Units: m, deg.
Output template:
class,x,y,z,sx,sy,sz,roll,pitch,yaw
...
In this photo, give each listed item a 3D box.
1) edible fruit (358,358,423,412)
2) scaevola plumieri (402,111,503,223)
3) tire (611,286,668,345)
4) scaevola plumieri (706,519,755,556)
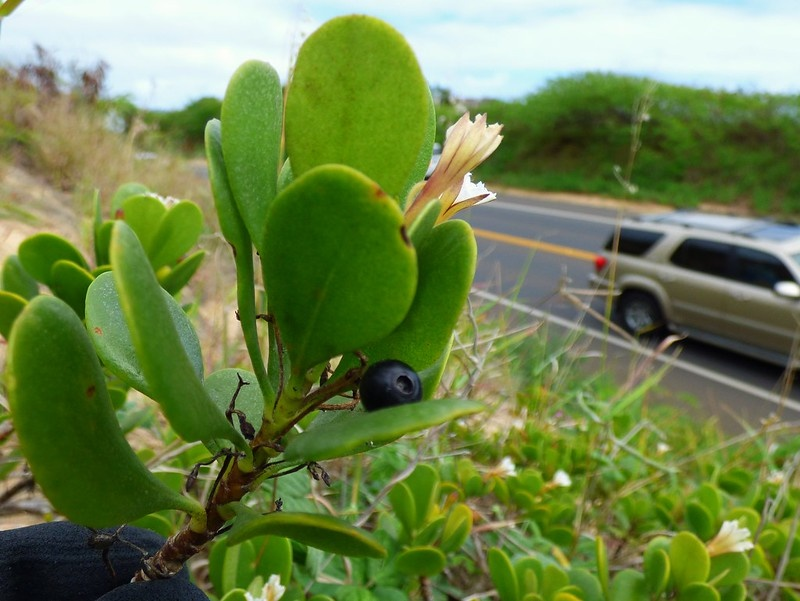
class,x,y,z,sx,sy,sz,roll,pitch,yaw
edible fruit,-0.014,0.114,0.803,0.062,0.081,0.081,4,7,7
scaevola plumieri,0.081,-0.198,0.894,0.186,0.162,0.056,-13,24,-43
tire,2.108,0.107,5.149,0.169,0.557,0.464,-3,2,-35
scaevola plumieri,0.764,0.549,1.359,0.039,0.077,0.126,-18,-16,-25
